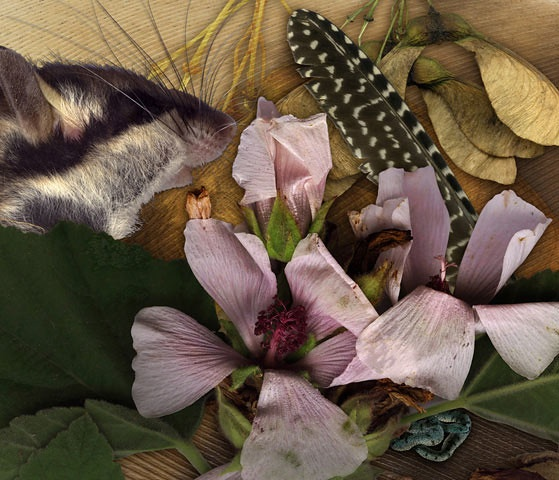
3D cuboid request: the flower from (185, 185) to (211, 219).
[{"bbox_3d":[-0.091,-0.041,0.638,0.038,0.032,0.016,-1,-1,4],"label":"flower"}]
